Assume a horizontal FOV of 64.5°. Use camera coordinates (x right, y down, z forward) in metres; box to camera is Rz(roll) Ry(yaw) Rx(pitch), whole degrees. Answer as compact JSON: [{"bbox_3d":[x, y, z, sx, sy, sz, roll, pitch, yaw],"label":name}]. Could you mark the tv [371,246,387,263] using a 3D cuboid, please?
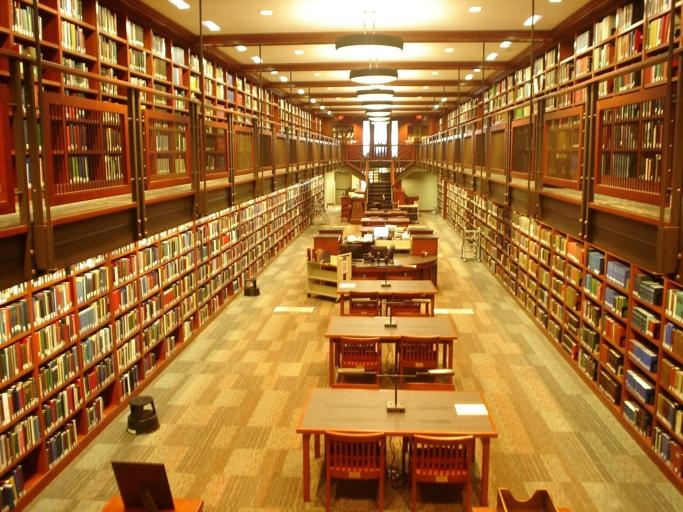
[{"bbox_3d":[0.850,-0.064,12.135,0.401,0.288,0.475,1,-70,5],"label":"tv"}]
